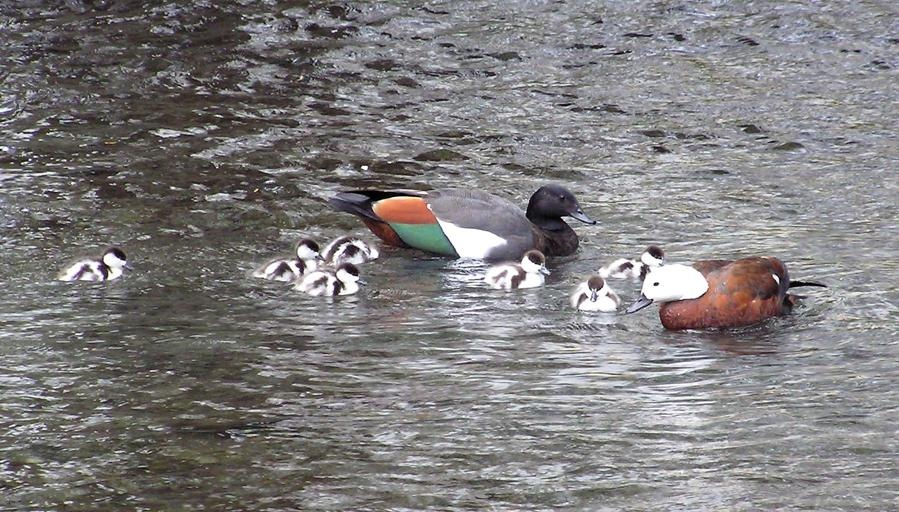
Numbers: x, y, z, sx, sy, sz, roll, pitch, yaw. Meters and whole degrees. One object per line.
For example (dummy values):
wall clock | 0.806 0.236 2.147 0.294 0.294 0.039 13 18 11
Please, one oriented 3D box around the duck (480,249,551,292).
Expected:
duck | 0.719 0.245 13.445 1.219 0.339 0.546 -1 15 -15

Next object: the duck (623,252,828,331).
duck | 3.253 0.488 12.036 1.987 0.915 0.873 4 38 1

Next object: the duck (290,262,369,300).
duck | -1.608 0.351 13.108 1.181 0.239 0.476 -5 12 22

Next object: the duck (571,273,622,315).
duck | 1.897 0.492 12.548 0.673 0.523 0.513 8 37 3
